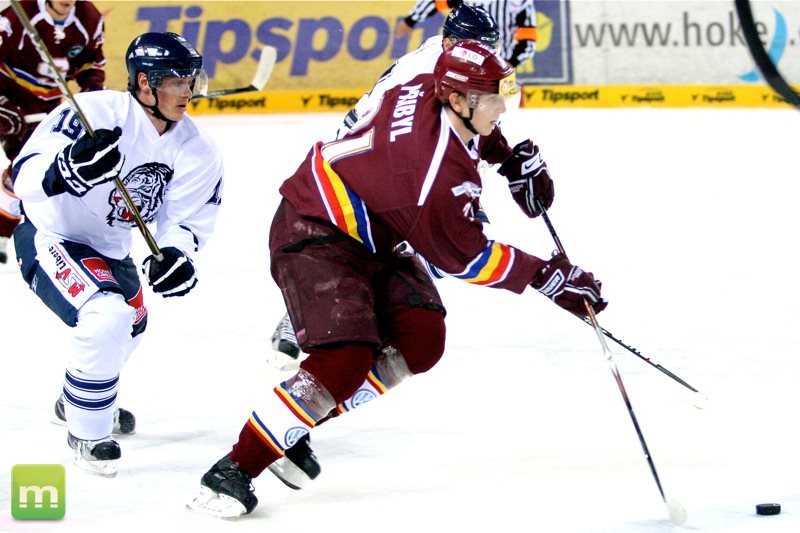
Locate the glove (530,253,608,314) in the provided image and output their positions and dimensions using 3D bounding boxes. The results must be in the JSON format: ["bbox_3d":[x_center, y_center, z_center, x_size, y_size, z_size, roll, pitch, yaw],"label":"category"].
[{"bbox_3d":[0.578,0.073,3.074,0.265,0.181,0.106,35,11,-13],"label":"glove"}]

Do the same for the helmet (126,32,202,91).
[{"bbox_3d":[-0.846,-0.718,3.172,0.281,0.174,0.214,2,9,15],"label":"helmet"}]

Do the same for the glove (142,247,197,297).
[{"bbox_3d":[-0.817,0.026,3.173,0.192,0.200,0.138,-1,19,-17],"label":"glove"}]

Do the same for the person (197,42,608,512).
[{"bbox_3d":[-0.088,-0.004,3.005,1.305,1.490,0.522,-4,21,-24],"label":"person"}]

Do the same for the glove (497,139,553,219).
[{"bbox_3d":[0.491,-0.358,3.621,0.207,0.318,0.139,-35,14,-5],"label":"glove"}]

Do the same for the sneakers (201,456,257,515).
[{"bbox_3d":[-0.547,0.697,2.853,0.156,0.166,0.136,-3,20,-23],"label":"sneakers"}]

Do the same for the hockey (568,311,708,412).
[{"bbox_3d":[1.019,0.421,3.875,0.648,0.099,0.120,31,15,-1],"label":"hockey"}]

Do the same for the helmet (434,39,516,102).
[{"bbox_3d":[0.228,-0.624,2.869,0.267,0.176,0.181,6,41,5],"label":"helmet"}]
